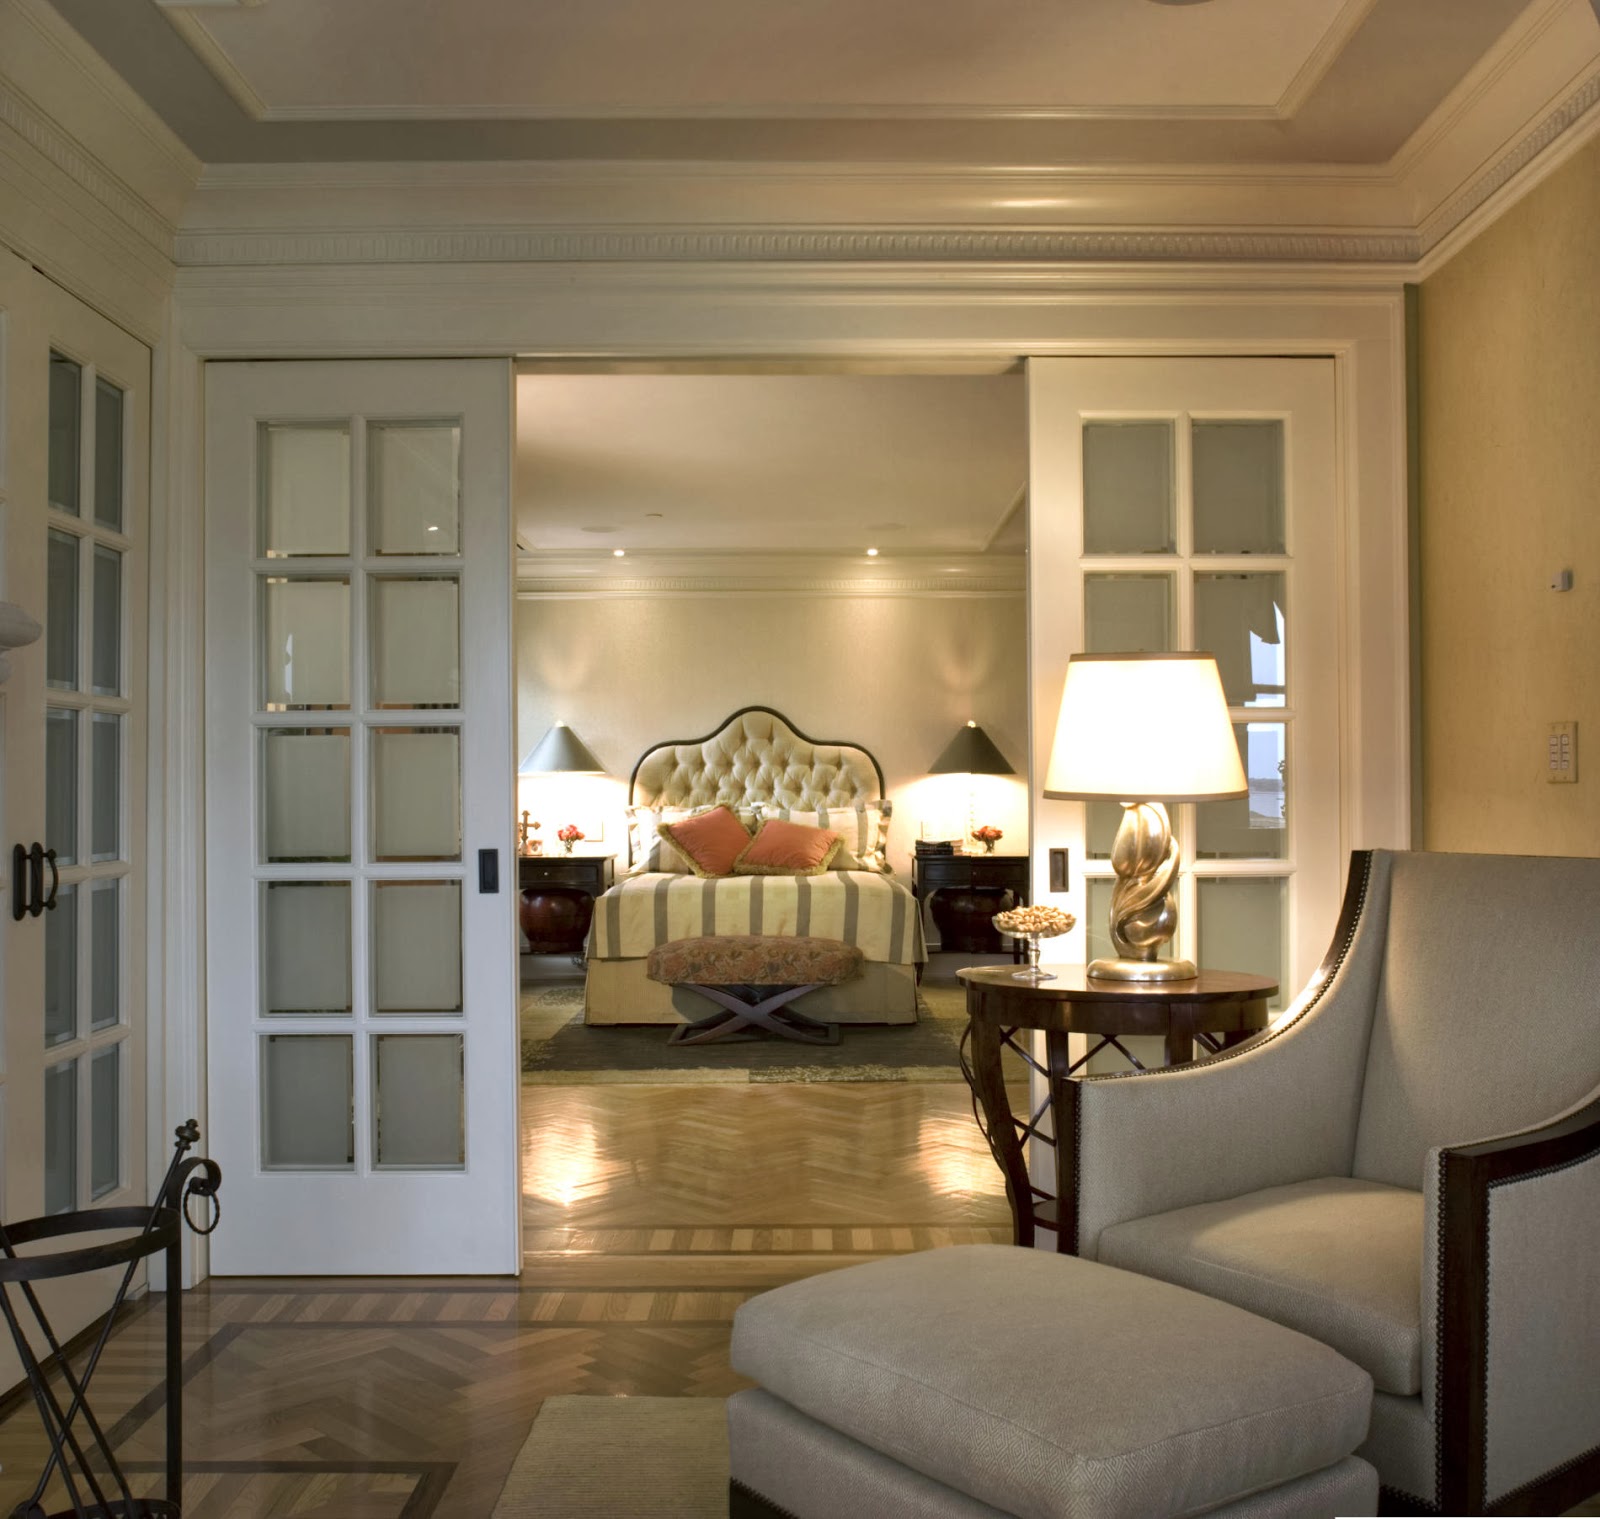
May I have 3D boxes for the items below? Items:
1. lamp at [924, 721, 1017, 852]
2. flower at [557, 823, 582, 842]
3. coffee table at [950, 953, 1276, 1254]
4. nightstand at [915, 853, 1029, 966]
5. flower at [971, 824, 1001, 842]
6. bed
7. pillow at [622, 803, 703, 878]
[{"bbox_3d":[1.045,0.156,9.082,0.635,1.056,0.681,0,0,-12],"label":"lamp"},{"bbox_3d":[-1.426,0.462,8.891,0.135,0.124,0.219,-1,-2,-10],"label":"flower"},{"bbox_3d":[0.664,0.706,3.129,0.648,0.765,0.706,-1,-5,6],"label":"coffee table"},{"bbox_3d":[0.983,0.850,8.647,0.799,0.873,0.633,0,-4,1],"label":"nightstand"},{"bbox_3d":[1.150,0.474,8.853,0.174,0.114,0.163,-1,-2,7],"label":"flower"},{"bbox_3d":[-0.287,0.616,8.204,1.767,2.001,2.799,-1,-4,1],"label":"bed"},{"bbox_3d":[-0.924,0.504,8.674,0.324,0.451,0.124,-1,-9,10],"label":"pillow"}]
